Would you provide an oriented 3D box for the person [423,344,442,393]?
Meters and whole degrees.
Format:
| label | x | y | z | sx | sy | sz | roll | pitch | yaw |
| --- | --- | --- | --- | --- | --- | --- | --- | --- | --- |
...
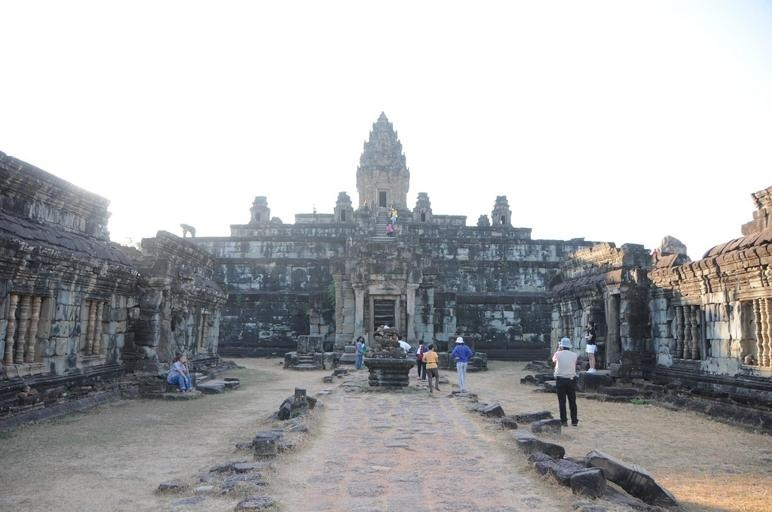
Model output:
| label | x | y | z | sx | sy | sz | roll | pitch | yaw |
| --- | --- | --- | --- | --- | --- | --- | --- | --- | --- |
| person | 1.232 | 3.078 | 17.284 | 0.434 | 1.097 | 1.305 | 2 | 3 | 4 |

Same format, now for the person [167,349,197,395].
| label | x | y | z | sx | sy | sz | roll | pitch | yaw |
| --- | --- | --- | --- | --- | --- | --- | --- | --- | --- |
| person | -5.119 | 2.906 | 15.834 | 0.597 | 0.838 | 0.547 | 0 | 4 | -19 |

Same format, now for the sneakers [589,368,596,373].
| label | x | y | z | sx | sy | sz | roll | pitch | yaw |
| --- | --- | --- | --- | --- | --- | --- | --- | --- | --- |
| sneakers | 5.769 | 3.189 | 17.828 | 0.153 | 0.170 | 0.441 | -6 | -16 | 22 |

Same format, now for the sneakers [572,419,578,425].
| label | x | y | z | sx | sy | sz | roll | pitch | yaw |
| --- | --- | --- | --- | --- | --- | --- | --- | --- | --- |
| sneakers | 3.922 | 3.446 | 13.199 | 0.160 | 0.109 | 0.088 | -1 | -9 | -3 |
